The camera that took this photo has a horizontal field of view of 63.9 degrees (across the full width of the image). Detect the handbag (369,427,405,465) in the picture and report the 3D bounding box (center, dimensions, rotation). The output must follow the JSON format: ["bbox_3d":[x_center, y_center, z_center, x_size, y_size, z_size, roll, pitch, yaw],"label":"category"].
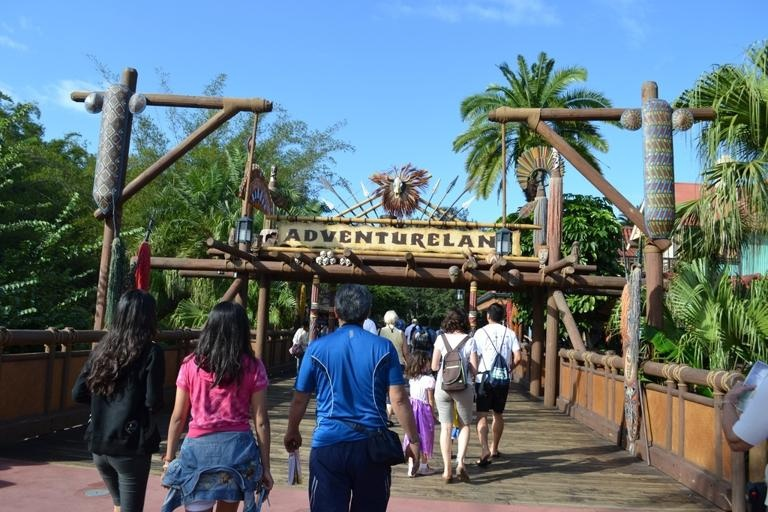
[{"bbox_3d":[0.044,1.681,5.443,0.364,0.311,0.170,5,-5,-39],"label":"handbag"}]

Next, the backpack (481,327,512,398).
[{"bbox_3d":[1.713,1.604,9.424,0.466,0.983,0.205,1,-3,7],"label":"backpack"}]

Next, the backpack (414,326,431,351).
[{"bbox_3d":[0.556,1.243,9.155,0.274,0.320,0.239,0,-1,13],"label":"backpack"}]
